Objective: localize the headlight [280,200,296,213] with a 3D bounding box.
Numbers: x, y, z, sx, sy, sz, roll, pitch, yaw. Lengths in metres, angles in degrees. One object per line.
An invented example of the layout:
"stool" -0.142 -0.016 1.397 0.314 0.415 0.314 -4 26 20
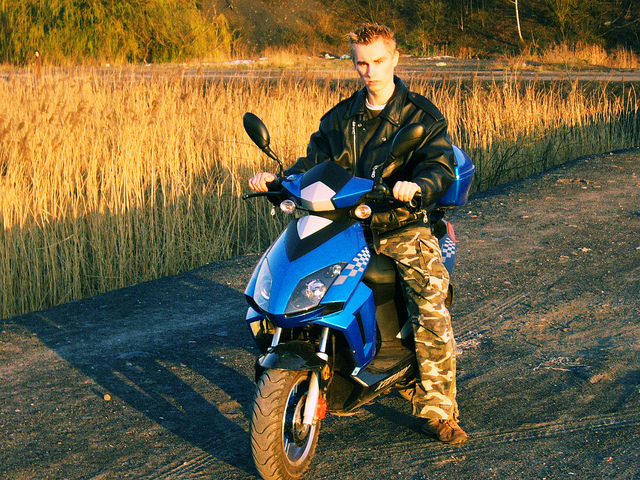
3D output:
"headlight" -0.234 -0.236 6.037 0.081 0.089 0.053 14 -7 -5

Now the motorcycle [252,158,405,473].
"motorcycle" -0.041 0.530 5.977 1.216 2.055 0.605 -11 17 -25

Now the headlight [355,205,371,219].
"headlight" 0.301 -0.193 5.919 0.112 0.091 0.048 -2 15 3

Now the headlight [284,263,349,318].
"headlight" -0.053 0.342 5.825 0.197 0.263 0.473 -25 2 44

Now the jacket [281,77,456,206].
"jacket" 0.453 -0.750 6.423 1.180 0.873 0.590 5 18 28
